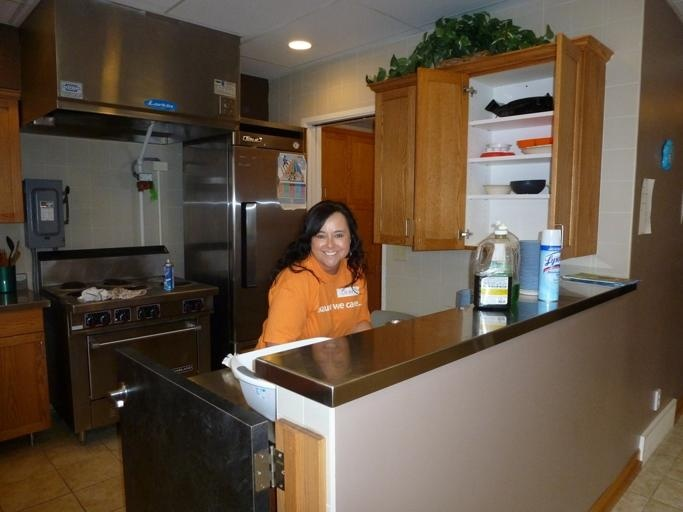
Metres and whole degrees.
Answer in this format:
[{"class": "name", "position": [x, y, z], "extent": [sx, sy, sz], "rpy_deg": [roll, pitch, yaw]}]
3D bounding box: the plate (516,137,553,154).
[{"class": "plate", "position": [1.121, -0.647, 3.044], "extent": [0.123, 0.053, 0.125], "rpy_deg": [-1, 3, -1]}]

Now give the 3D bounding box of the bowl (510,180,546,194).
[{"class": "bowl", "position": [1.118, -0.415, 3.163], "extent": [0.120, 0.051, 0.119], "rpy_deg": [0, 0, 0]}]

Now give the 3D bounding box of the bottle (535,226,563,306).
[{"class": "bottle", "position": [0.984, 0.042, 2.485], "extent": [0.101, 0.333, 0.214], "rpy_deg": [1, 7, 21]}]

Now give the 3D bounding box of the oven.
[{"class": "oven", "position": [-1.524, 0.666, 3.879], "extent": [1.017, 0.977, 0.666], "rpy_deg": [-7, 15, -39]}]

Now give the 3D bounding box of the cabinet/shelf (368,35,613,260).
[{"class": "cabinet/shelf", "position": [0.957, -0.667, 3.188], "extent": [1.441, 1.122, 0.564], "rpy_deg": [0, 0, 37]}]
